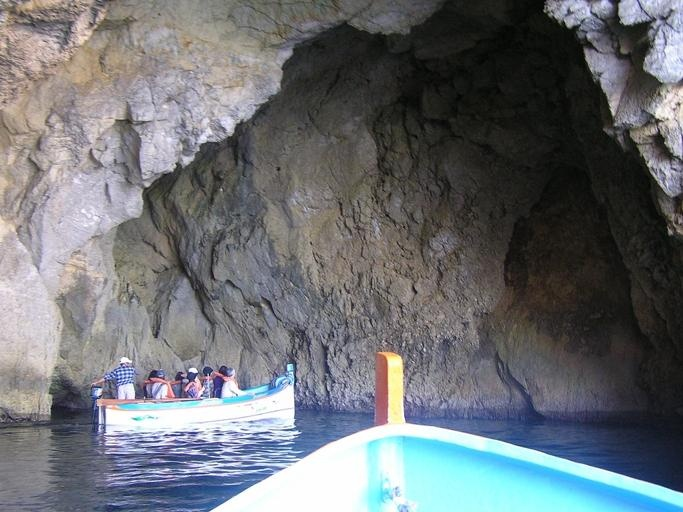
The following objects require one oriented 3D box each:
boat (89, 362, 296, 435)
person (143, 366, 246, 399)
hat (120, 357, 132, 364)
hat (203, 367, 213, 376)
[{"bbox_3d":[-2.545,2.608,16.383,3.920,1.300,1.203,3,-11,-28],"label":"boat"},{"bbox_3d":[-2.710,2.387,16.525,1.397,0.724,0.857,2,-19,-6],"label":"person"},{"bbox_3d":[-3.856,1.875,16.127,0.214,0.144,0.312,1,-3,-6],"label":"hat"},{"bbox_3d":[-2.606,2.254,17.581,0.189,0.211,0.144,-6,9,-35],"label":"hat"}]
